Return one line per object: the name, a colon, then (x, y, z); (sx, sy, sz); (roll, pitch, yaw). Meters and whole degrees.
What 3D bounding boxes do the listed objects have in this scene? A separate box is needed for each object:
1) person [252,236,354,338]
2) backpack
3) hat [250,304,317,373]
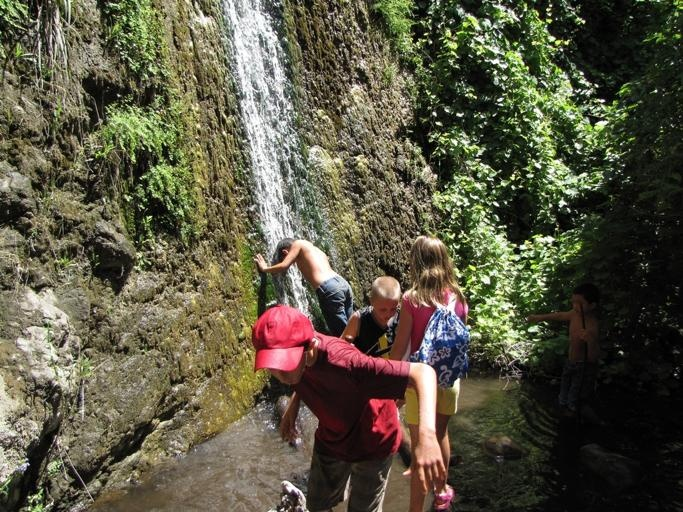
person: (-0.504, 0.372, 7.170); (0.879, 1.501, 0.590); (-33, -8, 39)
backpack: (0.911, 0.778, 5.314); (0.528, 0.720, 0.202); (0, -2, -10)
hat: (-0.425, 0.594, 4.472); (0.313, 0.345, 0.508); (1, 26, 16)
